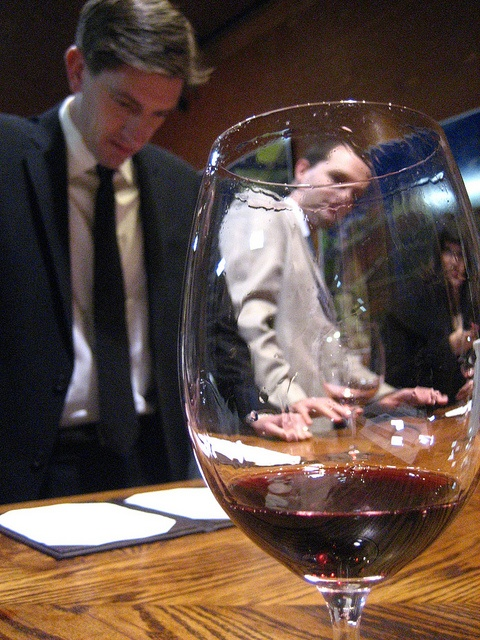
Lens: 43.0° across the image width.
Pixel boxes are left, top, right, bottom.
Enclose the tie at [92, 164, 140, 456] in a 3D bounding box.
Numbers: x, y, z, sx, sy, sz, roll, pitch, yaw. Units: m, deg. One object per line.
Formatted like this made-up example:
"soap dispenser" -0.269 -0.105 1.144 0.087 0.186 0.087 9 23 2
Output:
"tie" -0.210 -0.015 1.019 0.071 0.465 0.084 1 -4 -13
